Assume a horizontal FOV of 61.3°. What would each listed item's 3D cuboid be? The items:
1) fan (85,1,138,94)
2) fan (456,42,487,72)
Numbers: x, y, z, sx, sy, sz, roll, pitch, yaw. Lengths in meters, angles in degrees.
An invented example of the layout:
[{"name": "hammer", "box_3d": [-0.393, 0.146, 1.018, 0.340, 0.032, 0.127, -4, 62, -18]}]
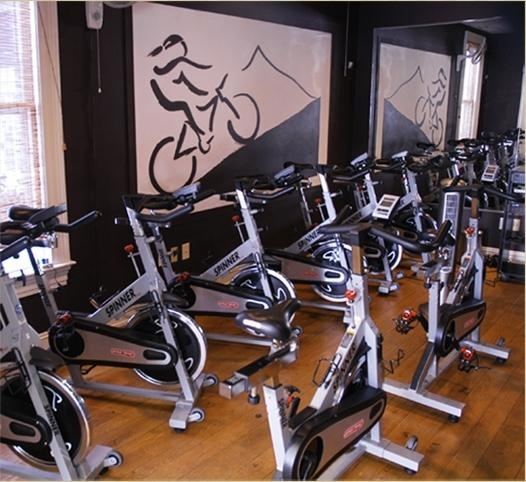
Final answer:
[{"name": "fan", "box_3d": [-1.074, -1.412, 3.210, 0.329, 0.621, 0.509, -9, 17, -18]}, {"name": "fan", "box_3d": [2.686, -2.399, 5.740, 0.446, 0.174, 0.443, -11, 7, -31]}]
